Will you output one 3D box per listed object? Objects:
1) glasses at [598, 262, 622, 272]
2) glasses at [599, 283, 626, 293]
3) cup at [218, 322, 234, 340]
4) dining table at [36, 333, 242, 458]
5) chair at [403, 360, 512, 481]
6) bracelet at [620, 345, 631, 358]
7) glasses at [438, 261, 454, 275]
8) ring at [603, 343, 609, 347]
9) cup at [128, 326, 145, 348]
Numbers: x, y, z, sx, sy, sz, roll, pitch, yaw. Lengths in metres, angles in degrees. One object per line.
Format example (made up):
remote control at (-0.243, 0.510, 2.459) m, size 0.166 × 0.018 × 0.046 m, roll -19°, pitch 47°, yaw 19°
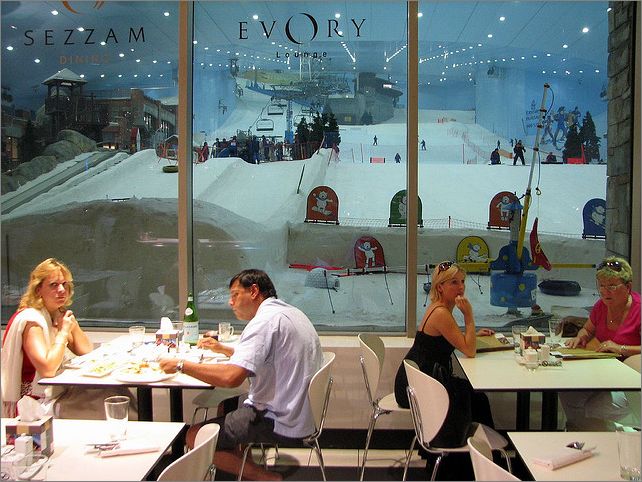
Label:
glasses at (1.840, 0.150, 3.220) m, size 0.094 × 0.051 × 0.123 m, roll 5°, pitch 8°, yaw 25°
glasses at (1.811, 0.290, 3.167) m, size 0.127 × 0.064 × 0.062 m, roll 4°, pitch 3°, yaw 36°
cup at (-0.661, 0.598, 3.396) m, size 0.072 × 0.113 × 0.118 m, roll -1°, pitch -2°, yaw 8°
dining table at (-0.926, 0.836, 2.842) m, size 0.599 × 0.394 × 0.622 m, roll 1°, pitch 5°, yaw 3°
chair at (0.710, 1.009, 2.765) m, size 0.543 × 0.651 × 0.303 m, roll 2°, pitch 2°, yaw 7°
bracelet at (1.830, 0.662, 3.068) m, size 0.018 × 0.058 × 0.042 m, roll -2°, pitch -8°, yaw 11°
glasses at (0.759, 0.162, 3.106) m, size 0.069 × 0.026 × 0.060 m, roll -31°, pitch -15°, yaw 34°
ring at (1.756, 0.637, 3.137) m, size 0.018 × 0.007 × 0.024 m, roll -23°, pitch 1°, yaw 13°
cup at (-1.201, 0.596, 3.195) m, size 0.109 × 0.135 × 0.120 m, roll 1°, pitch 2°, yaw 4°
